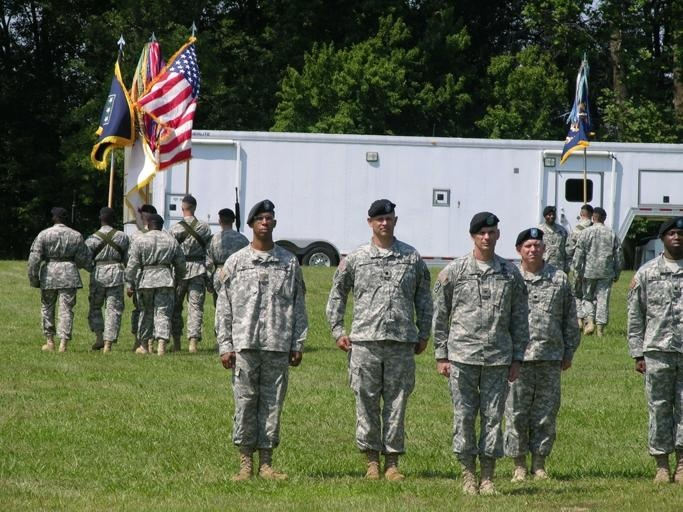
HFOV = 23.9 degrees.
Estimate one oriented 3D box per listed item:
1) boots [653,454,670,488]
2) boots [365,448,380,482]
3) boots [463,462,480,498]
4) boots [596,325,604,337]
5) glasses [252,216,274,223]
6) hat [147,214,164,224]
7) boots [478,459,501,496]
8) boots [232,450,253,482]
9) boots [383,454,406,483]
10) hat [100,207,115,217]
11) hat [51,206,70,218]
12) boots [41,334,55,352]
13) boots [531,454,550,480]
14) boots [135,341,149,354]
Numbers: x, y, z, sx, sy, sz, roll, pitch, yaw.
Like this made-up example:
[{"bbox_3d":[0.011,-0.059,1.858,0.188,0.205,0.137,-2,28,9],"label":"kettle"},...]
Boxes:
[{"bbox_3d":[6.103,4.073,30.938,0.313,0.543,0.473,2,0,11],"label":"boots"},{"bbox_3d":[0.599,3.994,30.973,0.311,0.536,0.418,1,0,4],"label":"boots"},{"bbox_3d":[2.407,4.169,30.409,0.322,0.638,0.420,1,0,4],"label":"boots"},{"bbox_3d":[6.129,1.793,38.575,0.231,0.300,0.226,1,-1,-10],"label":"boots"},{"bbox_3d":[-1.478,-0.708,30.961,0.212,0.062,0.213,0,-20,-13],"label":"glasses"},{"bbox_3d":[-4.219,-0.828,36.844,0.348,0.226,0.294,1,1,-8],"label":"hat"},{"bbox_3d":[2.754,4.132,30.474,0.340,0.703,0.574,1,0,5],"label":"boots"},{"bbox_3d":[-1.860,3.984,30.789,0.366,0.539,0.252,1,0,7],"label":"boots"},{"bbox_3d":[0.989,4.037,30.839,0.374,0.494,0.376,1,0,2],"label":"boots"},{"bbox_3d":[-5.392,-1.006,37.357,0.245,0.190,0.246,7,10,35],"label":"hat"},{"bbox_3d":[-6.434,-0.973,37.126,0.314,0.253,0.479,1,1,-8],"label":"hat"},{"bbox_3d":[-6.681,1.991,37.177,0.250,0.447,0.469,0,6,-26],"label":"boots"},{"bbox_3d":[3.797,4.063,31.092,0.324,0.463,0.267,1,0,1],"label":"boots"},{"bbox_3d":[-4.526,2.107,37.111,0.194,0.354,0.373,1,9,-34],"label":"boots"}]
